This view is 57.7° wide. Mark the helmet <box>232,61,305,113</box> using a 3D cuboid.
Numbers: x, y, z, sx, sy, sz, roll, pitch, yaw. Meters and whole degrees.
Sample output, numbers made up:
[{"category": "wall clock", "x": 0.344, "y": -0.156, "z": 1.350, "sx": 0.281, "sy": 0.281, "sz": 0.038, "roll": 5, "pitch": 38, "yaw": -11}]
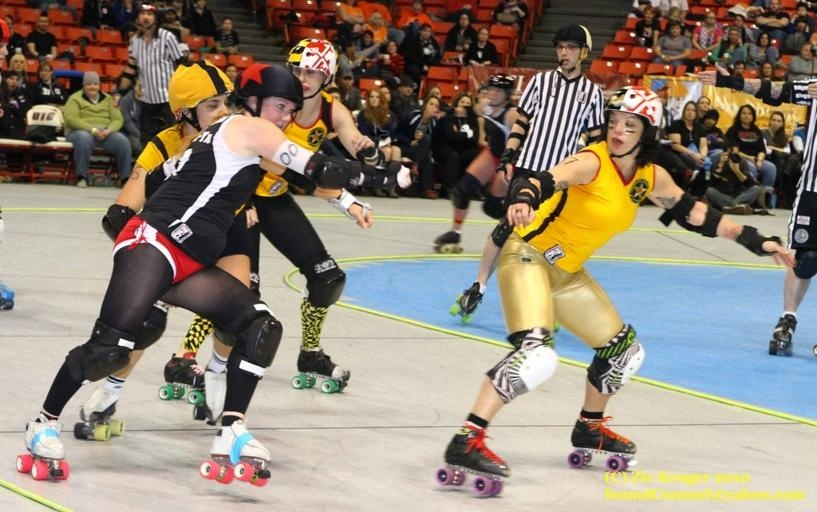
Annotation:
[{"category": "helmet", "x": -0.773, "y": -0.929, "z": 4.215, "sx": 0.413, "sy": 0.290, "sz": 0.305, "roll": 4, "pitch": 0, "yaw": 39}]

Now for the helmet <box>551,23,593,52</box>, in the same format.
[{"category": "helmet", "x": 1.508, "y": -2.037, "z": 6.889, "sx": 0.337, "sy": 0.222, "sz": 0.312, "roll": 5, "pitch": 14, "yaw": 8}]

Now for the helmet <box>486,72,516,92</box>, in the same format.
[{"category": "helmet", "x": 1.047, "y": -1.977, "z": 8.414, "sx": 0.275, "sy": 0.139, "sz": 0.351, "roll": 7, "pitch": 10, "yaw": 3}]

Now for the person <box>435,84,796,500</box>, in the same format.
[{"category": "person", "x": 0.879, "y": 0.134, "z": 4.263, "sx": 1.427, "sy": 2.181, "sz": 0.815, "roll": -8, "pitch": 19, "yaw": -37}]

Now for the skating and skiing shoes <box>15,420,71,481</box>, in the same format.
[{"category": "skating and skiing shoes", "x": -1.967, "y": 1.053, "z": 4.028, "sx": 0.202, "sy": 0.277, "sz": 0.520, "roll": 1, "pitch": 2, "yaw": -39}]

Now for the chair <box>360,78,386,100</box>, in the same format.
[{"category": "chair", "x": -0.723, "y": -3.415, "z": 14.880, "sx": 0.659, "sy": 0.426, "sz": 0.607, "roll": 0, "pitch": 11, "yaw": -7}]

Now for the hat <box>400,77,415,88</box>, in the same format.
[{"category": "hat", "x": 0.001, "y": -3.305, "z": 14.178, "sx": 0.284, "sy": 0.124, "sz": 0.200, "roll": -10, "pitch": 18, "yaw": -31}]

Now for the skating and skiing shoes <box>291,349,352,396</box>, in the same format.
[{"category": "skating and skiing shoes", "x": -0.623, "y": 0.829, "z": 5.298, "sx": 0.446, "sy": 0.270, "sz": 0.251, "roll": 3, "pitch": 3, "yaw": 25}]

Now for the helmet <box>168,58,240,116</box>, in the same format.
[{"category": "helmet", "x": -1.258, "y": -1.045, "z": 4.598, "sx": 0.431, "sy": 0.332, "sz": 0.346, "roll": 15, "pitch": 26, "yaw": 43}]

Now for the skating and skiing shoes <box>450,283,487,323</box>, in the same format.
[{"category": "skating and skiing shoes", "x": 0.512, "y": 0.451, "z": 6.902, "sx": 0.229, "sy": 0.236, "sz": 0.431, "roll": -24, "pitch": 22, "yaw": 52}]

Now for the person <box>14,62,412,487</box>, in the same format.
[{"category": "person", "x": -1.125, "y": 0.073, "z": 4.042, "sx": 1.219, "sy": 2.205, "sz": 1.344, "roll": 10, "pitch": 16, "yaw": 24}]

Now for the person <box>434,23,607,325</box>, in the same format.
[{"category": "person", "x": 1.270, "y": -0.799, "z": 7.158, "sx": 0.930, "sy": 2.859, "sz": 0.840, "roll": 16, "pitch": 1, "yaw": 7}]
